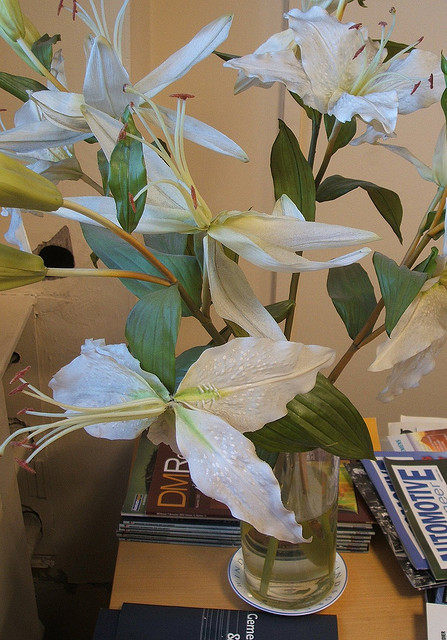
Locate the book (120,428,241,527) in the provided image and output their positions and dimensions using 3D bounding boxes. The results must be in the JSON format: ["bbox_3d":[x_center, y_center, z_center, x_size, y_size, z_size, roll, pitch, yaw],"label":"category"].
[{"bbox_3d":[-0.072,0.261,0.806,0.201,0.036,0.204,1,29,-23],"label":"book"}]

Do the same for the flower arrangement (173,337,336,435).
[{"bbox_3d":[0.028,0.038,0.304,0.105,0.052,0.021,-5,20,19],"label":"flower arrangement"}]
